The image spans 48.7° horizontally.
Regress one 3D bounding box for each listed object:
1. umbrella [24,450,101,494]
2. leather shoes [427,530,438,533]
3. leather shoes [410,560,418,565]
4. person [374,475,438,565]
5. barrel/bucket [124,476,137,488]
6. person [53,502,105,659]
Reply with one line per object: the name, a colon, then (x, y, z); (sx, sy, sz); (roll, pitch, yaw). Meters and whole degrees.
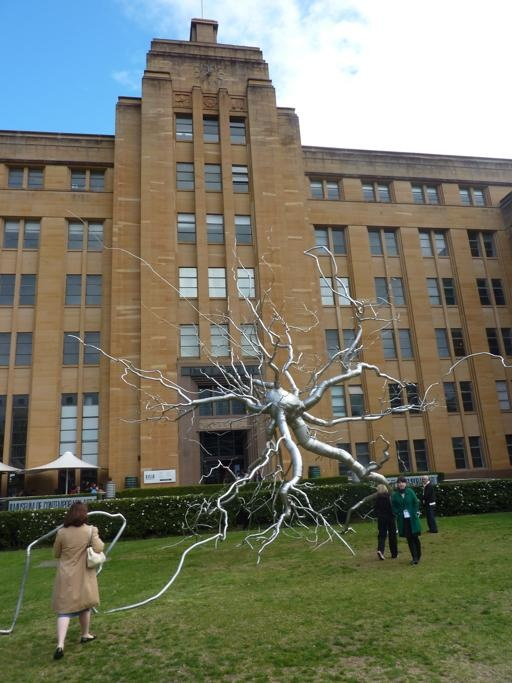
umbrella: (-8.686, 5.546, 25.352); (2.660, 1.177, 2.569); (1, -11, -17)
leather shoes: (4.304, 4.706, 13.902); (0.287, 0.104, 0.089); (-8, -35, 27)
leather shoes: (2.791, 4.007, 10.217); (0.221, 0.085, 0.068); (2, -23, 2)
person: (2.773, 3.379, 10.706); (0.607, 1.548, 0.837); (-5, -11, 0)
barrel/bucket: (-5.923, 6.710, 26.871); (0.603, 0.479, 0.396); (-2, -11, -11)
person: (-2.015, 2.713, 6.444); (0.546, 1.633, 0.363); (-1, -12, -18)
